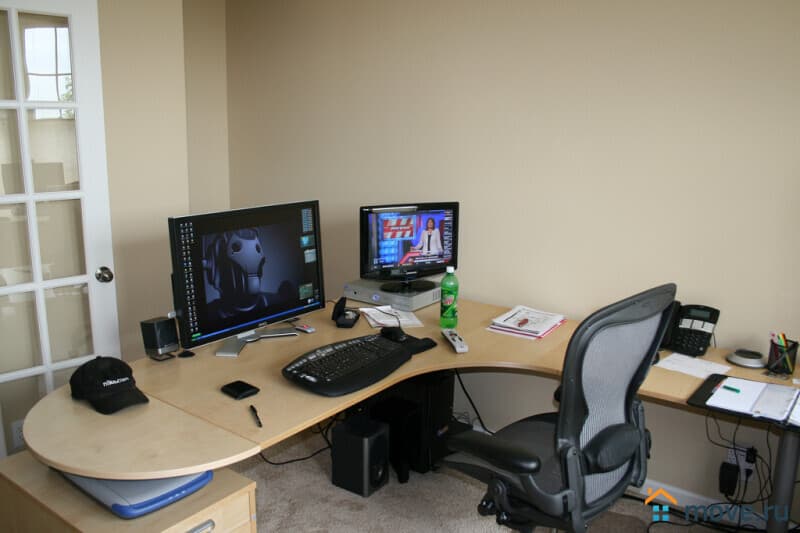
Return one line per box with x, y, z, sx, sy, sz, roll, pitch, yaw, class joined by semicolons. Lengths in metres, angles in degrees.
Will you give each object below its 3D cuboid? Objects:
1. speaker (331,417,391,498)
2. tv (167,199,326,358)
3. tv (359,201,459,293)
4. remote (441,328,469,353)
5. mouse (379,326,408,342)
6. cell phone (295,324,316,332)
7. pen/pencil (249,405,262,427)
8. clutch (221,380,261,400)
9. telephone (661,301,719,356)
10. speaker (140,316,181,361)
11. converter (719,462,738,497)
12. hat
-0.233;1.126;3.451;0.284;0.355;0.260;6;9;33;speaker
-0.748;0.084;2.875;0.131;0.550;0.779;-5;5;40;tv
0.053;-0.121;3.505;0.533;0.452;0.213;-3;15;-7;tv
0.285;0.387;3.039;0.062;0.043;0.184;-3;16;-10;remote
-0.032;0.339;2.993;0.077;0.030;0.105;18;24;37;mouse
-0.513;0.333;3.143;0.080;0.021;0.049;10;15;30;cell phone
-0.596;0.622;2.390;0.021;0.016;0.078;-20;43;-23;pen/pencil
-0.698;0.539;2.542;0.096;0.021;0.082;13;17;36;clutch
1.549;0.337;3.089;0.281;0.297;0.121;15;-7;29;telephone
-1.168;0.329;2.816;0.111;0.192;0.115;2;14;30;speaker
1.789;1.171;3.159;0.087;0.173;0.020;8;1;39;converter
-1.239;0.472;2.467;0.314;0.137;0.197;13;15;37;hat
